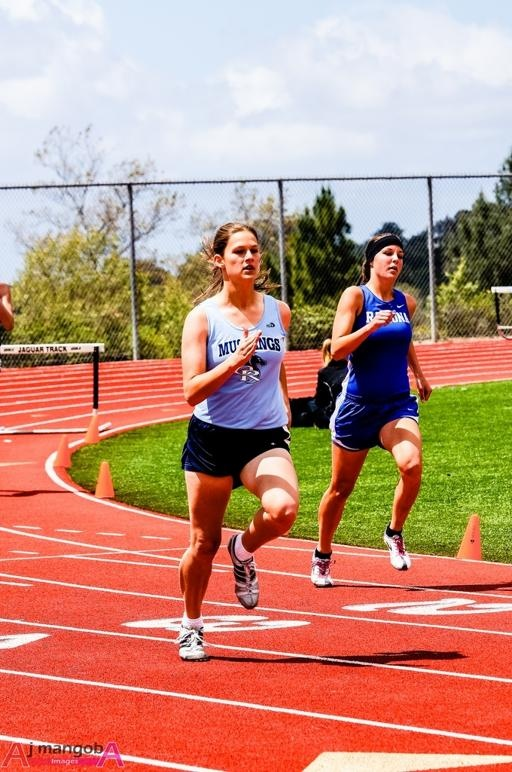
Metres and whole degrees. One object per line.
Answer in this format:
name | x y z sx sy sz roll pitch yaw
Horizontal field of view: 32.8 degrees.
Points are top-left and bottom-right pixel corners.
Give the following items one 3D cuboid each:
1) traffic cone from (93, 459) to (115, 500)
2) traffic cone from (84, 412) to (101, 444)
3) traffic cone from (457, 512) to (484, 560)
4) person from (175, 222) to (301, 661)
traffic cone | -1.498 0.932 8.636 0.212 0.447 0.216 6 14 13
traffic cone | -2.282 0.549 12.175 0.189 0.425 0.447 -1 3 -11
traffic cone | 1.393 0.977 5.678 0.155 0.303 0.241 0 3 14
person | -0.059 0.263 3.200 0.493 1.571 0.912 3 -8 -15
